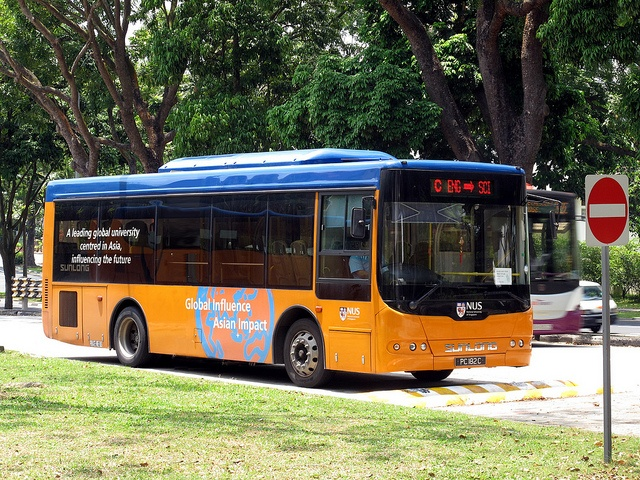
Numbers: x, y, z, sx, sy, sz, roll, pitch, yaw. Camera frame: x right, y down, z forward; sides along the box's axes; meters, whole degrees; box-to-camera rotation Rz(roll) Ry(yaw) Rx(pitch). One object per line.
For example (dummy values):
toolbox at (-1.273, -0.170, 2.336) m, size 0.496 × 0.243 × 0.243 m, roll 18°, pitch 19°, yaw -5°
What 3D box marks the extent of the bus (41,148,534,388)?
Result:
bus at (-1.321, 0.487, 16.037) m, size 10.422 × 4.394 × 2.755 m, roll -5°, pitch -6°, yaw 35°
